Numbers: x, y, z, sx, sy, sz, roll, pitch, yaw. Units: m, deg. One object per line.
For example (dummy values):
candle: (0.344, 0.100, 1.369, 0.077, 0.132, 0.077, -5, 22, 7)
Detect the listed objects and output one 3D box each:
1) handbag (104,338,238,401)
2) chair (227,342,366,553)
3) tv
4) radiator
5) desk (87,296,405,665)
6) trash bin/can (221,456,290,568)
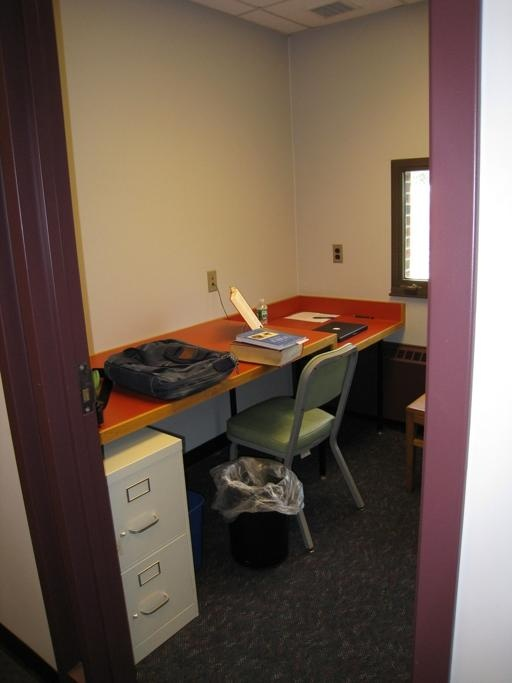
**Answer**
handbag: (-0.362, 0.103, 2.042, 0.512, 0.120, 0.419, 11, 20, 43)
chair: (0.178, 0.386, 2.346, 0.485, 0.885, 0.434, 19, 25, 41)
tv: (0.948, -0.646, 3.055, 0.070, 0.847, 0.398, -7, 13, -21)
radiator: (0.799, 0.224, 3.055, 0.379, 0.465, 0.139, -9, 16, 30)
desk: (-0.108, 0.356, 2.567, 0.656, 0.840, 2.176, 6, 16, 42)
trash bin/can: (0.022, 0.687, 2.158, 0.321, 0.431, 0.356, -1, 13, 2)
